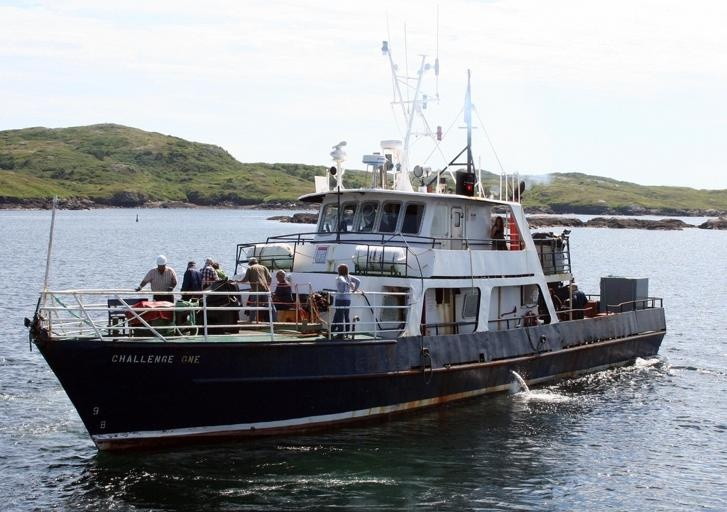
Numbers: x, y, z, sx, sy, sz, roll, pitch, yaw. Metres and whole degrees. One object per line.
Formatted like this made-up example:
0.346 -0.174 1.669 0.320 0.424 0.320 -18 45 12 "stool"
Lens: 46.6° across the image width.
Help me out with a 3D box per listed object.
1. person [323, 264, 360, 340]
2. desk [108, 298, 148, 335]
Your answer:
-0.545 1.340 24.424 0.775 2.135 1.184 1 0 0 "person"
-6.799 1.735 23.847 0.966 0.961 0.870 21 13 2 "desk"
